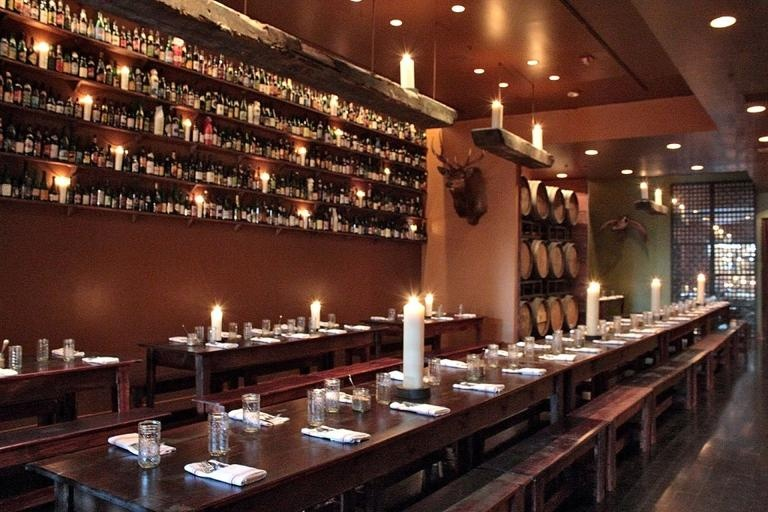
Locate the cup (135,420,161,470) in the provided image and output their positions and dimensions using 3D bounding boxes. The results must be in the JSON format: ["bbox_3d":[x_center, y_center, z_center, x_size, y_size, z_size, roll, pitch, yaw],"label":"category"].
[{"bbox_3d":[-1.177,0.923,2.880,0.109,0.213,0.195,-3,6,-24],"label":"cup"}]

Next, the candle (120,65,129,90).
[{"bbox_3d":[-2.591,-1.774,5.761,0.100,0.229,0.093,-3,6,-24],"label":"candle"}]

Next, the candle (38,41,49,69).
[{"bbox_3d":[-3.146,-1.835,5.306,0.105,0.226,0.114,-4,6,-31],"label":"candle"}]

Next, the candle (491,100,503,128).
[{"bbox_3d":[0.971,-1.210,4.922,0.073,0.243,0.162,1,6,20],"label":"candle"}]

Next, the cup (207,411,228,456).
[{"bbox_3d":[-0.845,0.897,2.940,0.105,0.213,0.153,-3,6,-17],"label":"cup"}]

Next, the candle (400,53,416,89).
[{"bbox_3d":[0.180,-1.391,4.379,0.087,0.254,0.189,0,5,9],"label":"candle"}]

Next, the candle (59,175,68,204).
[{"bbox_3d":[-3.079,-0.640,5.535,0.119,0.268,0.134,-4,6,-29],"label":"candle"}]

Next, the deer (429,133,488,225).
[{"bbox_3d":[1.256,-1.102,9.039,0.822,1.409,1.106,1,18,30],"label":"deer"}]

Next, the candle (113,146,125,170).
[{"bbox_3d":[-2.680,-0.984,5.804,0.085,0.247,0.105,-3,6,-24],"label":"candle"}]

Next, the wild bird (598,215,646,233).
[{"bbox_3d":[4.892,-0.636,11.807,0.649,0.301,0.402,2,7,26],"label":"wild bird"}]

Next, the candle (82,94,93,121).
[{"bbox_3d":[-2.896,-1.438,5.597,0.084,0.260,0.098,-1,5,3],"label":"candle"}]

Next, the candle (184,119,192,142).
[{"bbox_3d":[-2.144,-1.372,6.274,0.095,0.269,0.159,-3,6,-19],"label":"candle"}]
